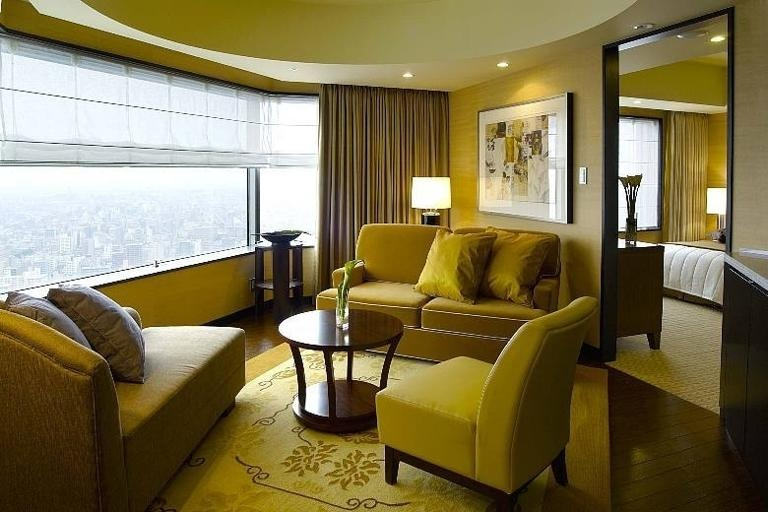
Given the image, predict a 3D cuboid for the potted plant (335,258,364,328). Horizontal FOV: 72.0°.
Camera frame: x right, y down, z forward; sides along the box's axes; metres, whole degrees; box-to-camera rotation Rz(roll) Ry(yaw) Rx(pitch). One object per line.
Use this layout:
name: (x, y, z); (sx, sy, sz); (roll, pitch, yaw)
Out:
potted plant: (-0.258, 0.290, 4.141); (0.245, 0.382, 0.229); (-4, 4, -43)

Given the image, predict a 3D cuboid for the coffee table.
coffee table: (-0.330, 0.725, 3.954); (0.803, 0.574, 0.814); (1, 14, 1)

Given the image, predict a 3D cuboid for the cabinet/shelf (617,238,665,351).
cabinet/shelf: (2.409, 0.391, 4.956); (0.545, 0.974, 0.226); (-3, 11, -12)

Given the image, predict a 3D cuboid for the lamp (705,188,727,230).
lamp: (5.034, -0.707, 7.949); (0.276, 0.638, 0.919); (6, 12, 31)

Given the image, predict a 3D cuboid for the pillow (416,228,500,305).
pillow: (0.686, 0.069, 4.758); (0.200, 0.653, 0.639); (29, -15, -37)

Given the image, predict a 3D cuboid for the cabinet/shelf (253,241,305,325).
cabinet/shelf: (-1.125, 0.308, 6.043); (0.530, 0.840, 0.534); (5, -1, -5)

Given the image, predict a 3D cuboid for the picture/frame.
picture/frame: (1.514, -1.034, 5.490); (0.106, 1.375, 1.454); (-4, 5, -28)

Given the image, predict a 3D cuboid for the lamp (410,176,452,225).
lamp: (0.591, -0.523, 6.342); (0.380, 0.596, 0.384); (0, -6, 4)

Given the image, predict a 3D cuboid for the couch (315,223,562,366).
couch: (0.528, 0.330, 5.078); (2.154, 1.201, 1.153); (4, 11, 24)

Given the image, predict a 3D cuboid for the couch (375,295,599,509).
couch: (0.643, 0.821, 3.475); (1.322, 1.490, 1.033); (5, 6, 42)

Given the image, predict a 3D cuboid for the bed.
bed: (3.802, 0.203, 6.399); (0.958, 0.436, 0.944); (-9, 15, -43)
